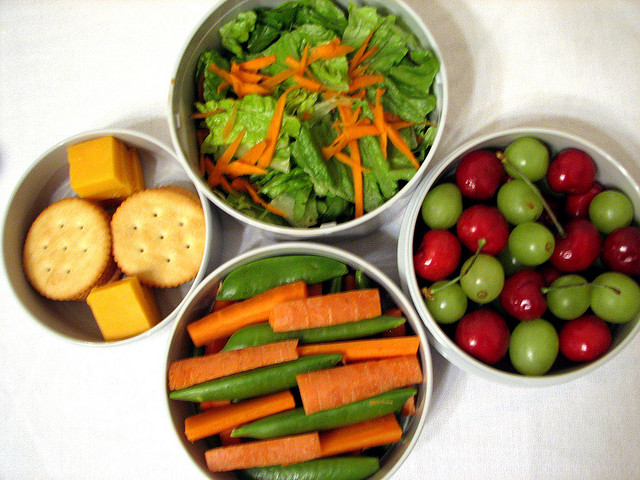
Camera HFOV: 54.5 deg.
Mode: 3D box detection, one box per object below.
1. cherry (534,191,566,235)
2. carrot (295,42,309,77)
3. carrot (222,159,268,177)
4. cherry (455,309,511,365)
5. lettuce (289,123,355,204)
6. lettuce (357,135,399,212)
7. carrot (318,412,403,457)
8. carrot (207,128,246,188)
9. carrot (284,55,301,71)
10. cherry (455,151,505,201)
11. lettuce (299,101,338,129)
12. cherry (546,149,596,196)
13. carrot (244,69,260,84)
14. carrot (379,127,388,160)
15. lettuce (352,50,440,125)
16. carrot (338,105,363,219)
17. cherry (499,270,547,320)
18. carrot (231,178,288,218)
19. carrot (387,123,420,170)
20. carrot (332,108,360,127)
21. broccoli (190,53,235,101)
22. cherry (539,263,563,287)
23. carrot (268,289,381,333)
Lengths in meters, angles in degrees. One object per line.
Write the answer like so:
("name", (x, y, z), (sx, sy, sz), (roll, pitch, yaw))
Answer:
("cherry", (0.848, -0.106, 2.294), (0.109, 0.168, 0.085), (-2, 6, -2))
("carrot", (-0.069, -0.645, 2.258), (0.032, 0.143, 0.018), (12, 1, 5))
("carrot", (-0.278, -0.250, 2.290), (0.164, 0.066, 0.064), (-1, -5, 29))
("cherry", (0.568, 0.333, 2.262), (0.171, 0.171, 0.193), (-32, 77, 0))
("lettuce", (-0.049, -0.287, 2.294), (0.086, 0.271, 0.284), (-8, 85, -7))
("lettuce", (0.209, -0.268, 2.354), (0.139, 0.280, 0.053), (-4, 17, 9))
("carrot", (0.138, 0.668, 2.098), (0.225, 0.055, 0.153), (-6, 84, -6))
("carrot", (-0.355, -0.301, 2.338), (0.081, 0.052, 0.341), (-13, 42, 37))
("carrot", (-0.100, -0.646, 2.255), (0.037, 0.033, 0.077), (4, 17, -12))
("cherry", (0.570, -0.235, 2.282), (0.145, 0.174, 0.161), (-16, 1, -28))
("lettuce", (-0.020, -0.471, 2.302), (0.179, 0.070, 0.047), (-35, 20, -17))
("cherry", (0.908, -0.243, 2.247), (0.175, 0.146, 0.107), (8, 44, 9))
("carrot", (-0.257, -0.616, 2.310), (0.045, 0.054, 0.048), (12, 17, -5))
("carrot", (0.229, -0.358, 2.271), (0.033, 0.109, 0.055), (6, 43, 8))
("lettuce", (0.289, -0.554, 2.295), (0.249, 0.087, 0.312), (1, 84, -1))
("carrot", (0.122, -0.277, 2.327), (0.056, 0.509, 0.047), (-5, 2, 35))
("cherry", (0.712, 0.223, 2.205), (0.133, 0.147, 0.162), (3, 71, 29))
("carrot", (-0.220, -0.129, 2.318), (0.232, 0.077, 0.059), (25, 4, 10))
("carrot", (0.298, -0.342, 2.286), (0.031, 0.041, 0.185), (-32, 87, 6))
("carrot", (0.096, -0.441, 2.278), (0.074, 0.018, 0.061), (-35, 71, 5))
("broccoli", (-0.406, -0.615, 2.313), (0.160, 0.170, 0.055), (28, 4, -19))
("cherry", (0.816, 0.123, 2.221), (0.063, 0.070, 0.093), (-3, 86, 4))
("carrot", (0.020, 0.213, 2.258), (0.409, 0.135, 0.093), (-5, 4, -4))
